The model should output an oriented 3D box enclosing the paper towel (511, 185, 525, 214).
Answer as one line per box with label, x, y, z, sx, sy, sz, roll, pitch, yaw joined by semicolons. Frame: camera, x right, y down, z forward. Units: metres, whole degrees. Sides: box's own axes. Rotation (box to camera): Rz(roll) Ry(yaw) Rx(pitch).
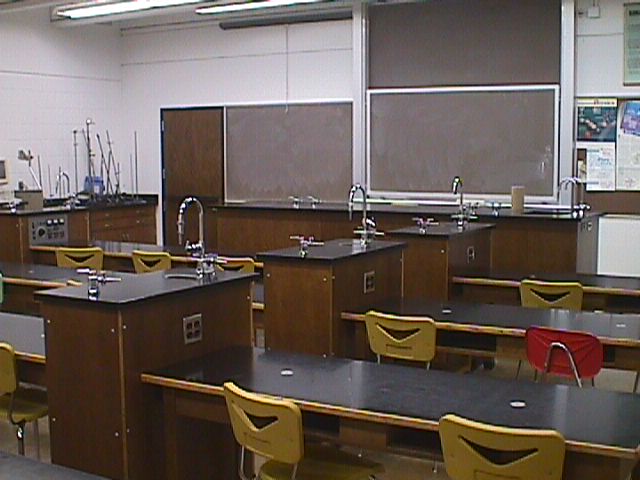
paper towel;2.033;-0.400;6.167;0.106;0.264;0.142;1;7;11
